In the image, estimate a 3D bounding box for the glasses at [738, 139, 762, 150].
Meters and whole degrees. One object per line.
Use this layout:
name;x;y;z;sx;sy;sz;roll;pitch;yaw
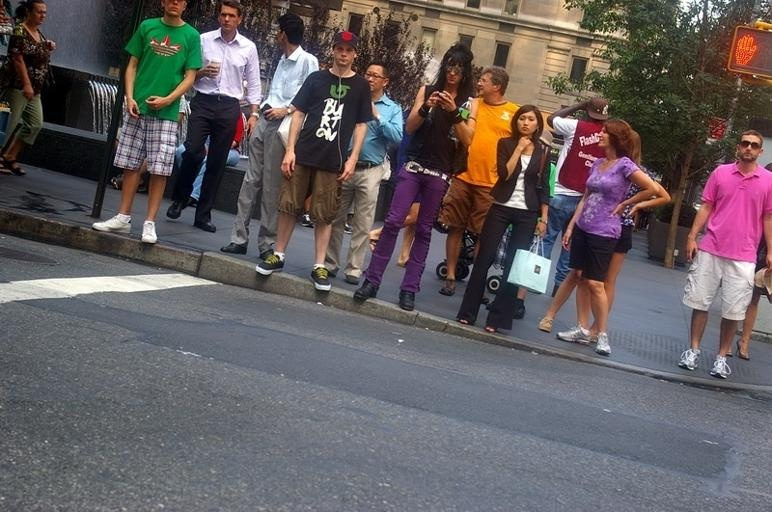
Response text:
glasses;4.323;-1.312;7.469;0.223;0.086;0.189;17;12;27

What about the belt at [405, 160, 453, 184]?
belt;0.449;-0.952;7.118;0.328;0.084;0.244;26;-1;-17

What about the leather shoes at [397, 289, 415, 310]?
leather shoes;0.234;0.504;7.205;0.212;0.259;0.604;1;-2;-4

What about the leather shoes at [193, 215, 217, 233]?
leather shoes;-2.544;-0.469;8.906;0.154;0.198;0.448;-3;5;-40

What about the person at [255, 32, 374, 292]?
person;-0.744;-1.078;7.119;0.939;2.871;0.484;11;9;2

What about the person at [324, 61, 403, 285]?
person;-0.159;-0.942;8.221;0.953;2.862;0.919;8;7;-23

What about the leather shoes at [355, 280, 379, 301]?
leather shoes;-0.220;0.403;7.258;0.130;0.157;0.367;27;7;13

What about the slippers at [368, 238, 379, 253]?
slippers;-0.220;-0.206;10.251;0.193;0.225;0.175;2;28;-9

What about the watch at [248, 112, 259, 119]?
watch;-1.719;-1.851;8.202;0.102;0.069;0.104;2;5;-10

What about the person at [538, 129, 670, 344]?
person;2.645;-0.293;7.699;1.245;2.785;0.635;9;9;36

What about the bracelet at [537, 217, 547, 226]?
bracelet;1.882;-0.417;7.547;0.086;0.090;0.081;-3;-15;-20

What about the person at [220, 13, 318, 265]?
person;-1.299;-1.426;8.117;1.042;3.436;1.026;8;7;-27

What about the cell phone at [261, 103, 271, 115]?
cell phone;-1.523;-1.840;7.990;0.120;0.159;0.057;41;15;29

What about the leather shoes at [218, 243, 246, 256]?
leather shoes;-1.876;-0.073;7.787;0.342;0.144;0.125;10;8;-44

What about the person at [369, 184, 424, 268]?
person;0.110;-0.449;10.203;0.587;1.269;1.027;-1;-1;-4

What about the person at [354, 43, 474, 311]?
person;0.405;-0.944;7.006;0.775;2.999;1.090;14;1;0

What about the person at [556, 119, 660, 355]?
person;2.671;-0.251;7.559;0.525;2.763;1.173;2;3;-29

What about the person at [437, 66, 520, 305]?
person;1.120;-0.961;7.944;0.836;2.751;0.801;-6;22;-21
